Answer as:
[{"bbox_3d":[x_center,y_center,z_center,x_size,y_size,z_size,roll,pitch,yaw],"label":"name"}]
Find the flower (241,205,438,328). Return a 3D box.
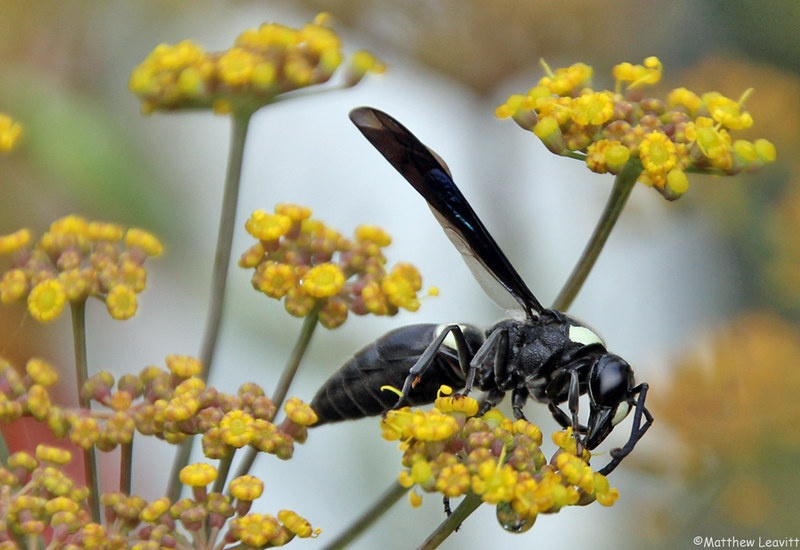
[{"bbox_3d":[-0.098,-0.014,1.531,0.240,0.208,0.087,36,-49,3],"label":"flower"}]

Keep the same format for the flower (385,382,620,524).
[{"bbox_3d":[0.146,0.240,1.364,0.341,0.104,0.251,25,-21,12],"label":"flower"}]

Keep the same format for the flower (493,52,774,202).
[{"bbox_3d":[0.300,-0.260,1.631,0.362,0.123,0.326,19,15,37],"label":"flower"}]

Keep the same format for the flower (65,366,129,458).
[{"bbox_3d":[-0.426,0.196,1.413,0.090,0.113,0.065,7,-7,-18],"label":"flower"}]
